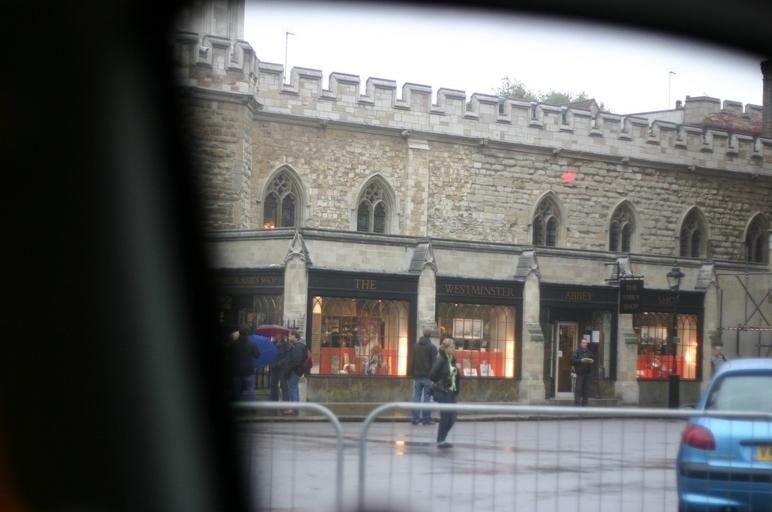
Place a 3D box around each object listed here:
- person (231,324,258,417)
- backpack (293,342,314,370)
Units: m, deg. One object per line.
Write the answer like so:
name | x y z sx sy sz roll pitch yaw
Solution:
person | -3.333 2.501 39.489 0.617 1.735 1.056 5 4 -5
backpack | -2.054 2.430 40.883 0.305 0.728 0.761 7 4 24
